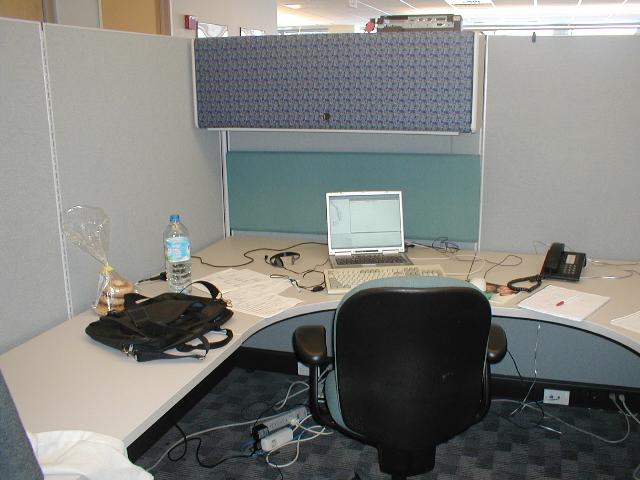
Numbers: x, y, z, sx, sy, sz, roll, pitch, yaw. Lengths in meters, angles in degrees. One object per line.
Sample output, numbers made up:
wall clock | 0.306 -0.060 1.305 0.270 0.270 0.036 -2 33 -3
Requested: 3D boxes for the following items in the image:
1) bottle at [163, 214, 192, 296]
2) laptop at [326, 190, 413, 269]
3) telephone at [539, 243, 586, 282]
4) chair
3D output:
bottle | -0.662 0.072 2.283 0.126 0.353 0.121 0 15 0
laptop | 0.247 -0.072 2.581 0.495 0.329 0.386 -1 14 -2
telephone | 1.175 0.116 2.395 0.174 0.086 0.225 13 40 27
chair | 0.296 0.399 1.891 0.605 0.861 0.590 5 15 -4
